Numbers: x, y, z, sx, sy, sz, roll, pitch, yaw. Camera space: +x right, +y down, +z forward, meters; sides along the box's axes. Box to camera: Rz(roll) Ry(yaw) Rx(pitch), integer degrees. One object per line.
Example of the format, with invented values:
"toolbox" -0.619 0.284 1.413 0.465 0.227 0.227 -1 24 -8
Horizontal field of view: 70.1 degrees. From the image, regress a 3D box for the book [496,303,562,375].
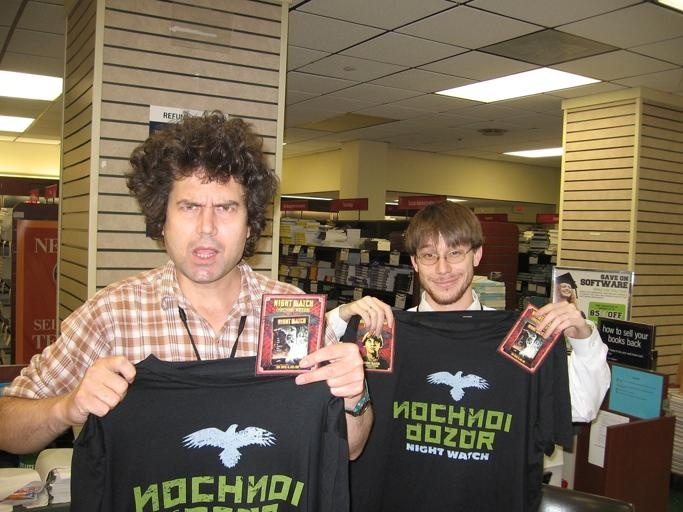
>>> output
"book" 0.864 0.388 2.228 0.247 0.308 0.042 34 11 11
